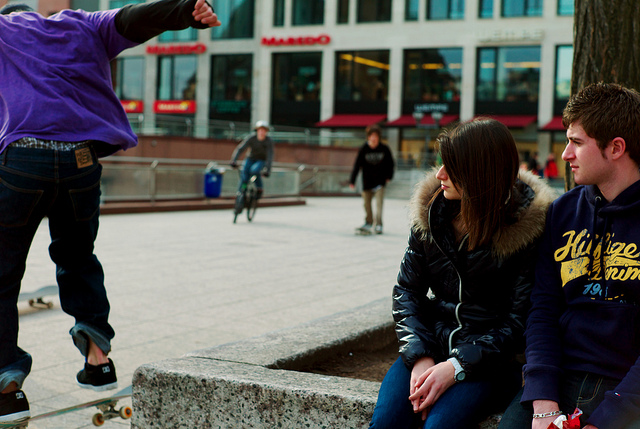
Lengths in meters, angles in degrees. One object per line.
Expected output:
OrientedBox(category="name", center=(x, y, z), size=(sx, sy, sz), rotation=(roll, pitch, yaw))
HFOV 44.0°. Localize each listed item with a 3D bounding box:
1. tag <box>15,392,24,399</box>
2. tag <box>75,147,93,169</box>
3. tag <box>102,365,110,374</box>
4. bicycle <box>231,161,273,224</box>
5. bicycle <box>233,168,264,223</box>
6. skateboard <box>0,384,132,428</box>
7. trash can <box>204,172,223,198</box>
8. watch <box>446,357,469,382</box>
OrientedBox(category="tag", center=(-1.648, 1.005, 4.338), size=(0.038, 0.041, 0.004), rotation=(-2, -3, -13))
OrientedBox(category="tag", center=(-1.323, -0.320, 4.424), size=(0.010, 0.102, 0.098), rotation=(4, 17, 38))
OrientedBox(category="tag", center=(-1.262, 0.926, 4.667), size=(0.046, 0.046, 0.011), rotation=(-1, -6, -30))
OrientedBox(category="bicycle", center=(-1.337, -0.435, 15.377), size=(0.719, 1.085, 1.735), rotation=(-1, -10, 2))
OrientedBox(category="bicycle", center=(-1.384, -0.326, 15.130), size=(0.426, 0.980, 0.823), rotation=(2, 8, -2))
OrientedBox(category="skateboard", center=(-1.503, 1.164, 4.699), size=(0.861, 0.159, 0.214), rotation=(-11, 0, -19))
OrientedBox(category="trash can", center=(-2.600, -0.688, 18.305), size=(0.485, 0.571, 0.482), rotation=(2, 2, -37))
OrientedBox(category="watch", center=(0.690, 0.789, 3.958), size=(0.076, 0.106, 0.115), rotation=(-17, 50, -30))
